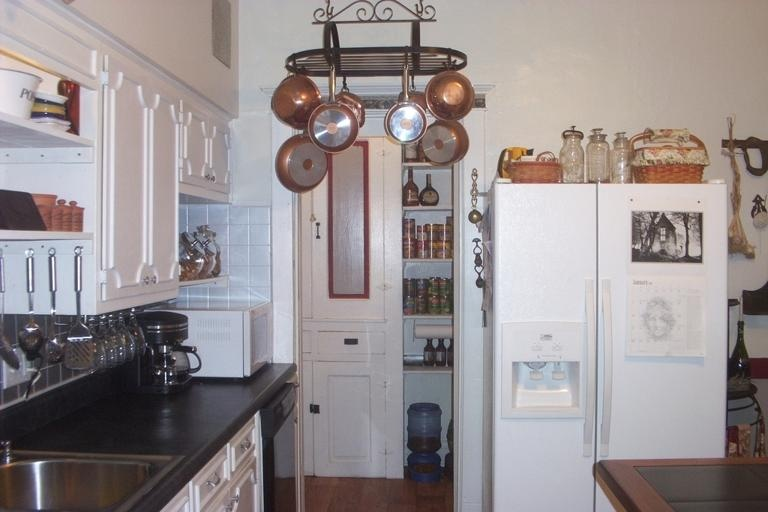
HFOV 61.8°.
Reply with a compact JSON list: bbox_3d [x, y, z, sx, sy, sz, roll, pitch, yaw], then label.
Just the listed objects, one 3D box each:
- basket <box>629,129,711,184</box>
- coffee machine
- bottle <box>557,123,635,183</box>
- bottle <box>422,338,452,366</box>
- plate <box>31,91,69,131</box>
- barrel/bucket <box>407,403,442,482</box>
[{"bbox_3d":[1.611,-0.570,3.673,0.422,0.300,0.255,1,8,9],"label":"basket"},{"bbox_3d":[-1.244,0.518,3.628,0.436,0.420,0.339,2,4,9],"label":"coffee machine"},{"bbox_3d":[1.230,-0.591,3.735,0.435,0.370,0.141,0,2,3],"label":"bottle"},{"bbox_3d":[0.407,0.735,4.904,0.223,0.176,0.079,2,-7,-3],"label":"bottle"},{"bbox_3d":[-1.434,-0.627,2.763,0.143,0.099,0.140,-3,6,-24],"label":"plate"},{"bbox_3d":[0.301,1.465,5.046,0.317,0.531,0.337,1,-7,0],"label":"barrel/bucket"}]
